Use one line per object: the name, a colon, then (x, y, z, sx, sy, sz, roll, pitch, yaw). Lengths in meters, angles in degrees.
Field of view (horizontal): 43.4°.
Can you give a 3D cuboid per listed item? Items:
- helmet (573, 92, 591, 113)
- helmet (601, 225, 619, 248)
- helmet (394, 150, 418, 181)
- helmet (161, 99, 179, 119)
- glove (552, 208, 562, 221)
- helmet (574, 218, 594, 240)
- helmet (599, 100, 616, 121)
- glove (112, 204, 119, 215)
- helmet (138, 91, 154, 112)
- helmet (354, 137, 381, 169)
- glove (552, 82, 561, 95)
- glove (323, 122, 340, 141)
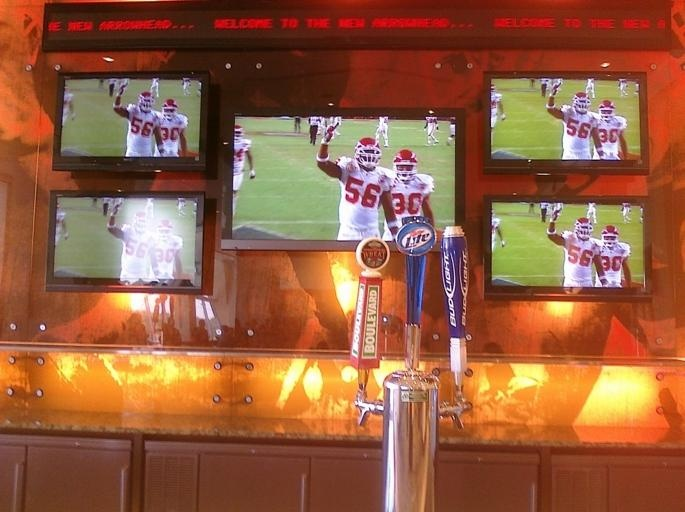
helmet: (1.338, -0.860, 4.822, 0.095, 0.109, 0.113, 0, 7, 0)
helmet: (1.495, -0.110, 4.859, 0.087, 0.106, 0.119, 1, -5, 10)
helmet: (0.348, -0.507, 4.836, 0.134, 0.157, 0.175, 0, 8, 1)
helmet: (-0.986, -0.834, 4.875, 0.086, 0.096, 0.109, 2, 42, -20)
glove: (1.200, -0.230, 4.825, 0.032, 0.056, 0.047, 9, 30, -52)
helmet: (1.344, -0.152, 4.811, 0.103, 0.100, 0.076, 11, 33, 5)
helmet: (1.475, -0.818, 4.813, 0.081, 0.096, 0.104, 0, 11, 11)
glove: (-1.300, -0.262, 4.906, 0.039, 0.056, 0.015, 46, -2, 3)
helmet: (-1.125, -0.876, 4.885, 0.092, 0.112, 0.114, -2, 3, -19)
helmet: (0.126, -0.579, 4.837, 0.146, 0.162, 0.177, 2, 6, -7)
glove: (1.206, -0.935, 4.833, 0.044, 0.065, 0.018, 11, -4, 10)
glove: (-0.073, -0.691, 4.848, 0.070, 0.057, 0.110, 41, 66, 13)
